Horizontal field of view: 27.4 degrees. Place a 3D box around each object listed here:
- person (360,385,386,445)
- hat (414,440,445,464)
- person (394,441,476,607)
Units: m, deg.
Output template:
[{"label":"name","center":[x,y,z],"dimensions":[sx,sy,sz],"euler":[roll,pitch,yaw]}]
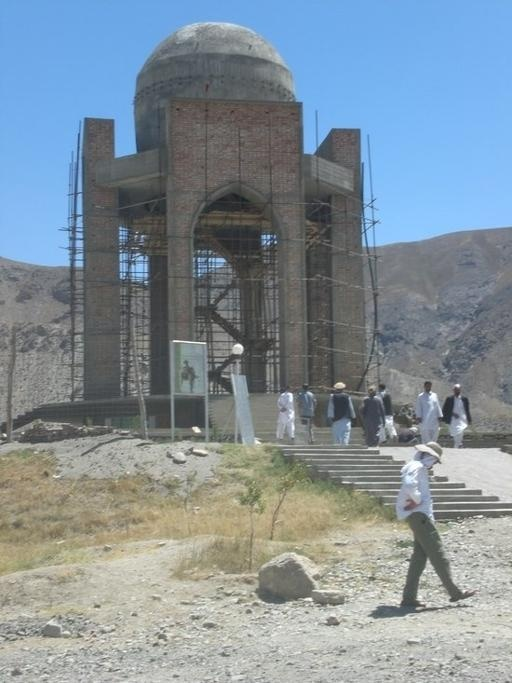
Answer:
[{"label":"person","center":[2.087,1.368,18.920],"dimensions":[0.399,0.814,1.236],"euler":[-6,2,6]},{"label":"hat","center":[1.776,1.095,10.517],"dimensions":[0.358,0.132,0.342],"euler":[17,-10,-6]},{"label":"person","center":[1.667,1.827,10.330],"dimensions":[0.641,1.151,0.796],"euler":[-6,2,7]}]
